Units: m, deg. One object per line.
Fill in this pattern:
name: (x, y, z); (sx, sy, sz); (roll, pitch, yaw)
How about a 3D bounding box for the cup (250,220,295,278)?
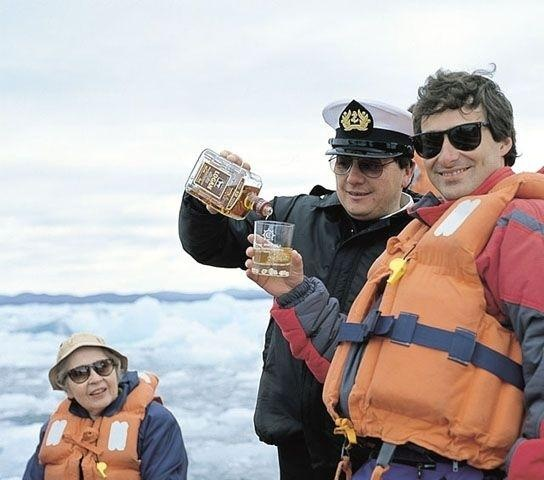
cup: (0.004, 0.046, 4.411); (0.250, 0.280, 0.182); (5, -10, 1)
